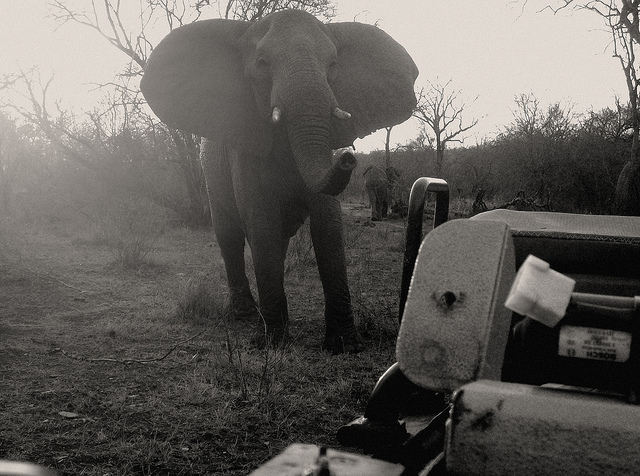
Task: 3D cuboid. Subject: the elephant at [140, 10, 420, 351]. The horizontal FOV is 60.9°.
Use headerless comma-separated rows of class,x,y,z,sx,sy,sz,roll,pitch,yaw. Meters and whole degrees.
elephant,-0.553,-0.624,6.054,2.565,3.192,4.062,-7,5,-22
